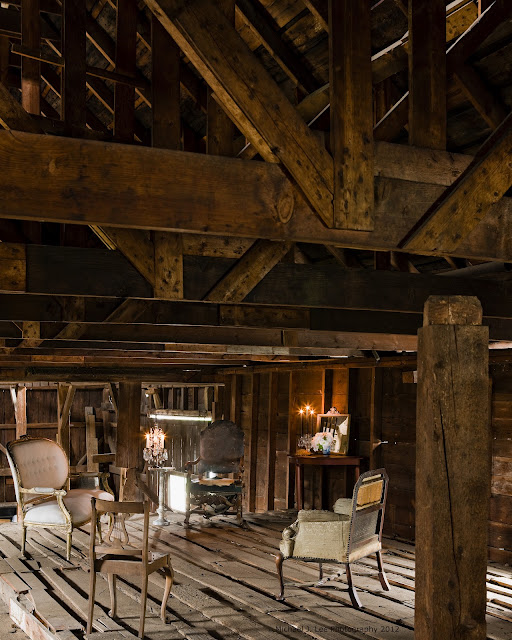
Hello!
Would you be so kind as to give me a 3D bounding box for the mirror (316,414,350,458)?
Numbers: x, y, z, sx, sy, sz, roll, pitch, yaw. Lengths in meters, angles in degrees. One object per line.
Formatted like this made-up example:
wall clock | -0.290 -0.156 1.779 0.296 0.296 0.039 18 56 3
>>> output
mirror | 1.017 1.534 9.230 0.033 0.478 0.448 13 -14 -31
